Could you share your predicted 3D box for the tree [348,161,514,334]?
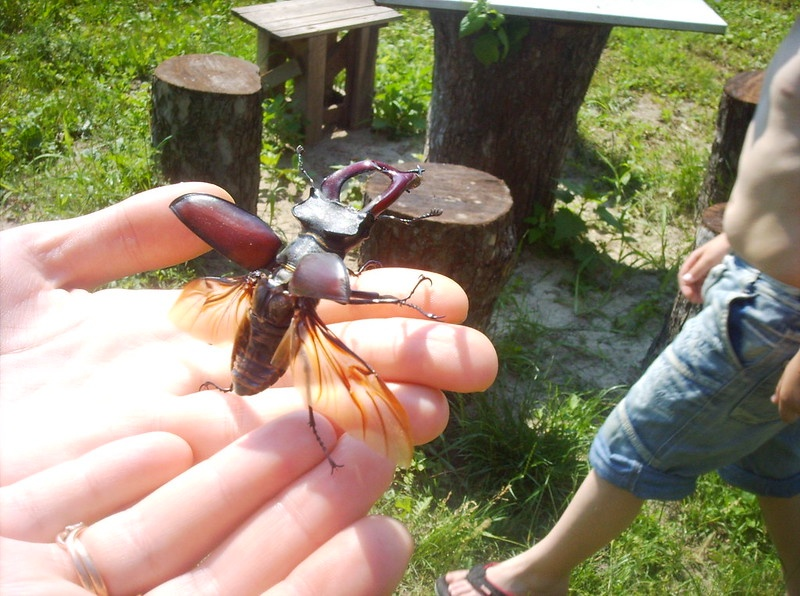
[{"bbox_3d":[0.177,-0.244,3.873,0.711,0.758,0.723,3,35,-5],"label":"tree"}]
